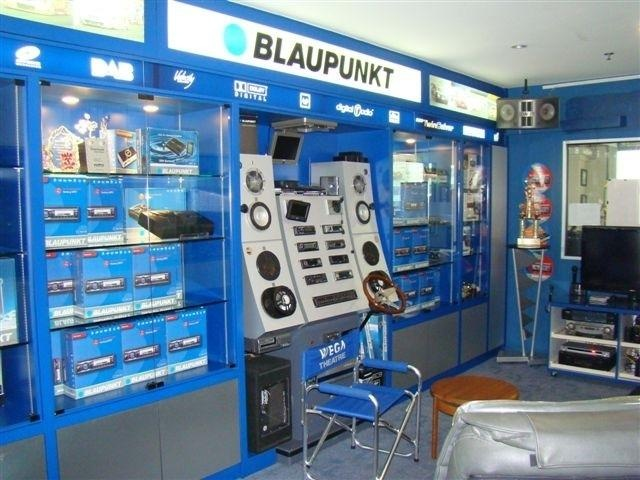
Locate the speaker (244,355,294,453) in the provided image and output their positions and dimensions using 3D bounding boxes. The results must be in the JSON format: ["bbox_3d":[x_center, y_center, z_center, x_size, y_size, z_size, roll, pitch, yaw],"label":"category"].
[{"bbox_3d":[-0.395,1.288,3.867,0.341,0.639,0.243,-2,8,-7],"label":"speaker"}]

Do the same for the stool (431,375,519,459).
[{"bbox_3d":[1.249,1.489,4.057,0.706,0.608,0.718,0,1,12],"label":"stool"}]

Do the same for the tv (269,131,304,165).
[{"bbox_3d":[-0.319,-0.830,4.570,0.037,0.270,0.365,23,19,36],"label":"tv"}]

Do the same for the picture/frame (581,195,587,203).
[{"bbox_3d":[3.391,-0.529,6.443,0.009,0.071,0.096,5,4,-38],"label":"picture/frame"}]
